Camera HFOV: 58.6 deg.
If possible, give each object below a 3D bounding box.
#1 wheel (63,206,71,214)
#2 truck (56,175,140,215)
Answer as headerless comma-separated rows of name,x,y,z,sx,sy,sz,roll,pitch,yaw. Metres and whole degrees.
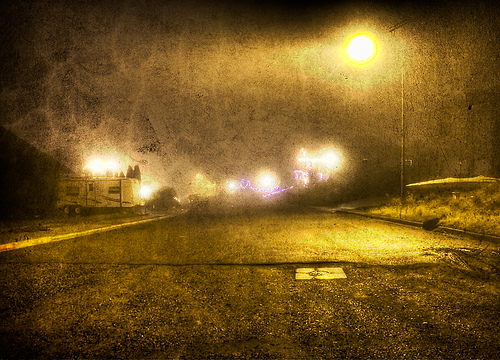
wheel,-13.260,2.163,32.161,0.512,0.546,0.198,-1,14,2
truck,-11.603,1.043,33.426,6.438,3.040,2.394,1,8,9
